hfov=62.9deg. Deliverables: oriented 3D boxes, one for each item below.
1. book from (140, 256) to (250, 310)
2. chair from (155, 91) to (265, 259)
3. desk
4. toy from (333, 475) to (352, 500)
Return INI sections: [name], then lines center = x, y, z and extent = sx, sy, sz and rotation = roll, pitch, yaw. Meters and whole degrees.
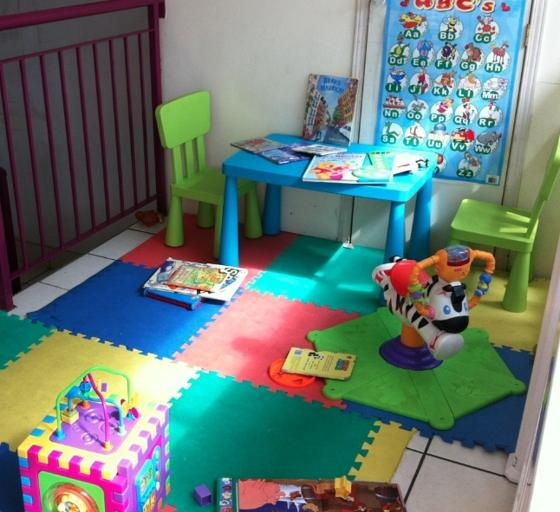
[book]
center = -0.477, 0.149, 2.526
extent = 0.356, 0.123, 0.300
rotation = 8, 33, 15
[chair]
center = -0.433, -0.522, 2.949
extent = 0.582, 0.911, 0.596
rotation = 20, 32, 30
[desk]
center = 0.285, -0.261, 2.766
extent = 1.110, 0.692, 0.717
rotation = 12, 32, 21
[toy]
center = 0.190, 0.698, 1.379
extent = 0.054, 0.052, 0.055
rotation = -8, 9, -2
